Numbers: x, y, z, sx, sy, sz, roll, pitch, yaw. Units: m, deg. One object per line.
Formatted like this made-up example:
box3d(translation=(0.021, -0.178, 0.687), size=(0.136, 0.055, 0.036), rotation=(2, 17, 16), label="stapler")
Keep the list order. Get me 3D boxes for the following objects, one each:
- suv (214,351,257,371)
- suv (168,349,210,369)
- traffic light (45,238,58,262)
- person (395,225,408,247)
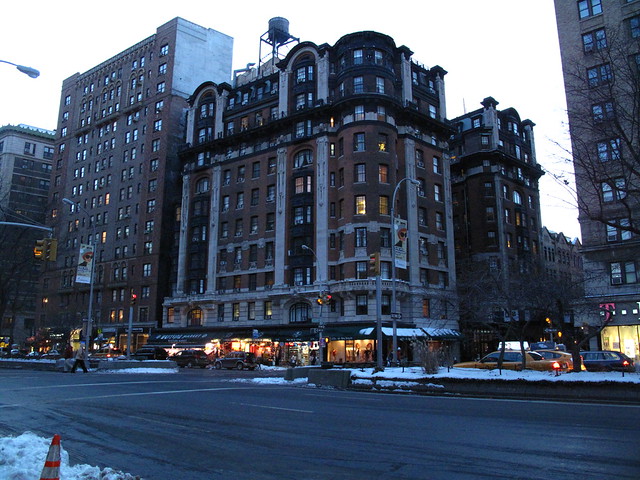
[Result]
box3d(translation=(-7.557, 10.981, 51.414), size=(4.486, 1.736, 1.906), rotation=(-12, -18, 37), label="suv")
box3d(translation=(-13.190, 11.797, 55.960), size=(4.189, 1.307, 1.847), rotation=(-1, -8, 32), label="suv")
box3d(translation=(-15.393, 0.494, 32.034), size=(0.479, 1.383, 0.967), rotation=(5, -17, -23), label="traffic light")
box3d(translation=(4.932, -0.216, 34.027), size=(0.765, 1.222, 0.417), rotation=(11, -20, -39), label="person")
